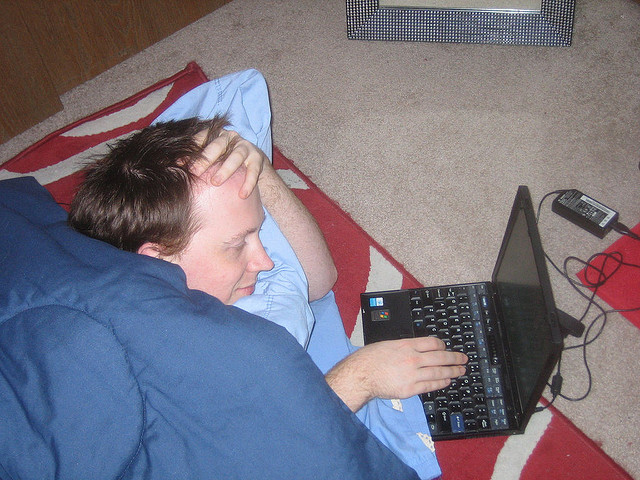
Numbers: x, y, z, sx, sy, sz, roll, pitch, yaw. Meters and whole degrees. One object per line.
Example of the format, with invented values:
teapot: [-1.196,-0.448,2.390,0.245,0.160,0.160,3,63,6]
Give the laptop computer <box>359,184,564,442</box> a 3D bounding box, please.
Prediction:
laptop computer: [0.306,0.176,1.283,0.434,0.306,0.517,1,51,9]

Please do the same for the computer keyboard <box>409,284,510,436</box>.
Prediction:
computer keyboard: [0.289,0.252,1.297,0.216,0.030,0.356,-9,55,14]

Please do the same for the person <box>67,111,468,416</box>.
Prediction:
person: [-0.154,0.142,1.415,0.800,0.329,0.591,17,54,-14]
